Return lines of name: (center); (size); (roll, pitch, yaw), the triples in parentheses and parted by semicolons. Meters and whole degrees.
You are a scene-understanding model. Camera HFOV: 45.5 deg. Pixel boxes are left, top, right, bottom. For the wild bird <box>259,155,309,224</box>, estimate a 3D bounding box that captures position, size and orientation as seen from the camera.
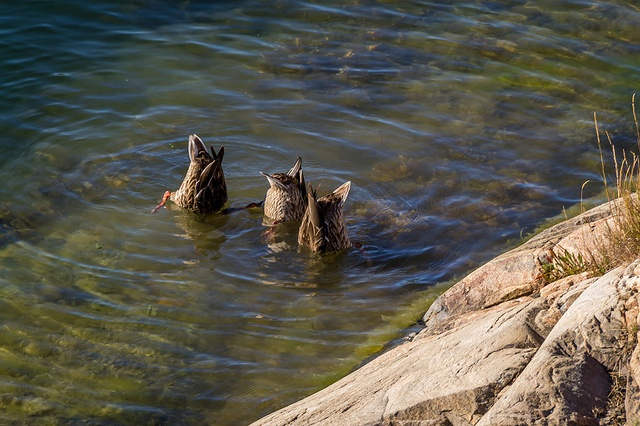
wild bird: (-0.702, -0.386, 15.716); (0.930, 1.183, 0.811); (-5, 41, -17)
